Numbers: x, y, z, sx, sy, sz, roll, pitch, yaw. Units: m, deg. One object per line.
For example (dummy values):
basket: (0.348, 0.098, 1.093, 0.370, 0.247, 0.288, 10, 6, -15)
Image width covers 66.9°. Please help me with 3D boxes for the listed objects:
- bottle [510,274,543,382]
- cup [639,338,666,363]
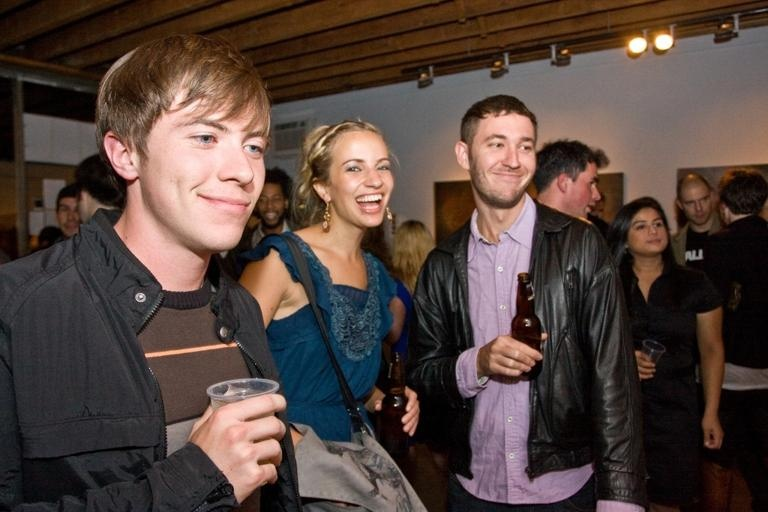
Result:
bottle: (0.661, 0.331, 2.681, 0.138, 0.527, 0.232, 0, 6, 15)
cup: (1.631, 0.566, 3.595, 0.164, 0.132, 0.159, 8, 8, -1)
